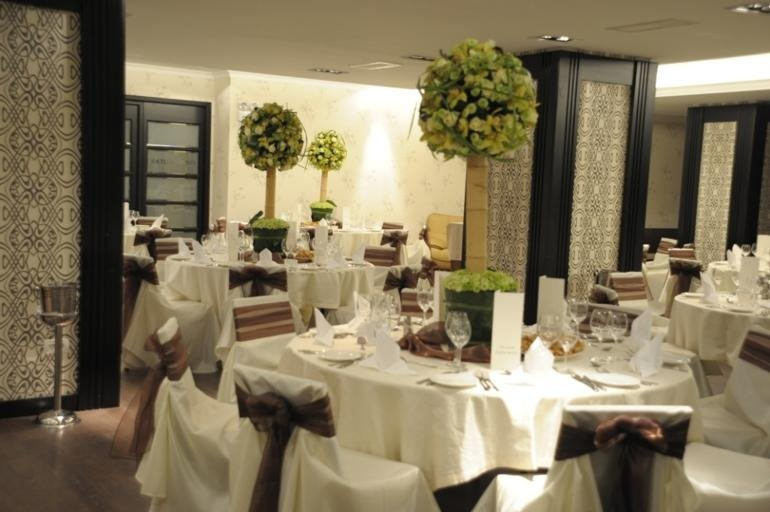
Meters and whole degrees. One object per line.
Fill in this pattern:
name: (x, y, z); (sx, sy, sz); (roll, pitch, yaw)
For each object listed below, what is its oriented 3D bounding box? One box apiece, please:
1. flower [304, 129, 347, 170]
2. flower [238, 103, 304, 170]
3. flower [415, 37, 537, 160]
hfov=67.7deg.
flower: (-1.067, -1.866, 10.649); (0.751, 0.817, 0.734); (-4, 7, -35)
flower: (-1.371, -1.377, 6.629); (0.724, 0.837, 0.714); (-4, 7, -32)
flower: (0.562, -0.930, 3.757); (0.687, 0.780, 0.311); (-1, 7, 1)
